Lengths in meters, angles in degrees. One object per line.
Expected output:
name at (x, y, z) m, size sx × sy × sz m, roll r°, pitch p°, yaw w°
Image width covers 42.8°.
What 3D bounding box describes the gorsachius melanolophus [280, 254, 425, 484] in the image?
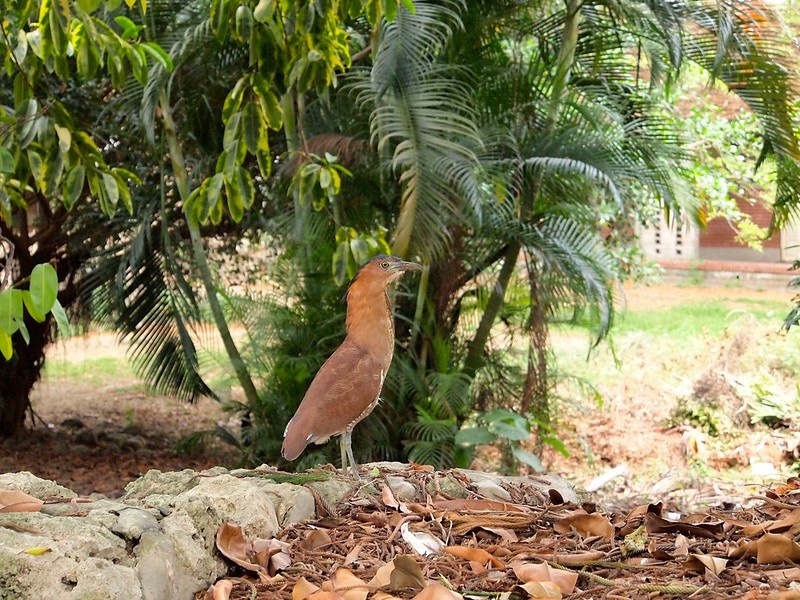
gorsachius melanolophus at (-0.293, 0.363, 6.048) m, size 0.659 × 1.302 × 0.432 m, roll 8°, pitch 7°, yaw 0°
